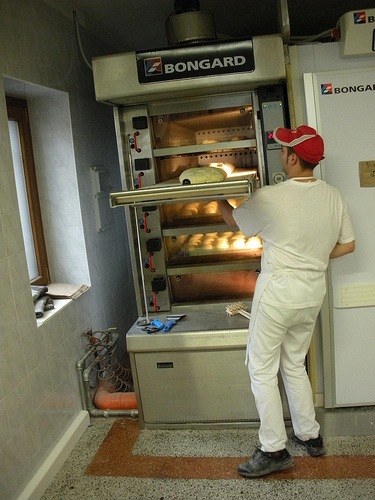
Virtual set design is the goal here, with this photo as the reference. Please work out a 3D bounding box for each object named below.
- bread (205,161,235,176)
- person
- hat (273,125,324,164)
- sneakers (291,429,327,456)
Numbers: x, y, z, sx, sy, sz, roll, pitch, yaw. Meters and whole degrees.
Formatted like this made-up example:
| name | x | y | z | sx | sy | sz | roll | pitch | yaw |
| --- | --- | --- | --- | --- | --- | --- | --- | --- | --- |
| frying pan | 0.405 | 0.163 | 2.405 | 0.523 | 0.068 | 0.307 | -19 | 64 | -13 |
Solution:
| name | x | y | z | sx | sy | sz | roll | pitch | yaw |
| --- | --- | --- | --- | --- | --- | --- | --- | --- | --- |
| bread | 0.202 | -0.458 | 2.359 | 0.124 | 0.036 | 0.127 | -2 | 23 | 0 |
| person | 0.462 | 0.238 | 1.924 | 0.647 | 1.538 | 0.283 | -7 | 8 | 3 |
| hat | 0.462 | -0.434 | 1.777 | 0.195 | 0.175 | 0.093 | -5 | 9 | 12 |
| sneakers | 0.605 | 0.943 | 2.095 | 0.063 | 0.065 | 0.155 | -3 | 13 | -18 |
